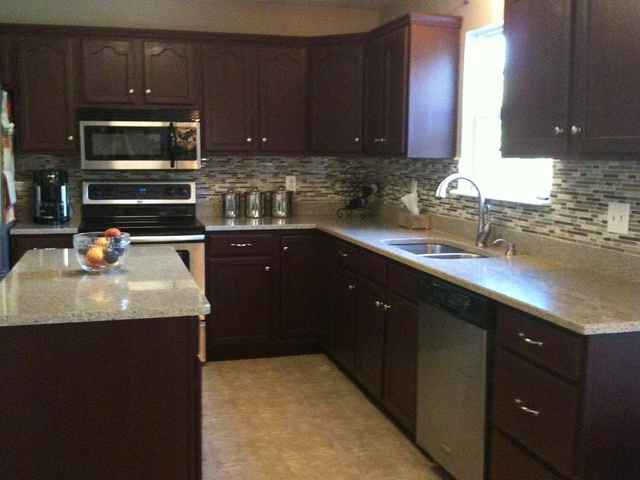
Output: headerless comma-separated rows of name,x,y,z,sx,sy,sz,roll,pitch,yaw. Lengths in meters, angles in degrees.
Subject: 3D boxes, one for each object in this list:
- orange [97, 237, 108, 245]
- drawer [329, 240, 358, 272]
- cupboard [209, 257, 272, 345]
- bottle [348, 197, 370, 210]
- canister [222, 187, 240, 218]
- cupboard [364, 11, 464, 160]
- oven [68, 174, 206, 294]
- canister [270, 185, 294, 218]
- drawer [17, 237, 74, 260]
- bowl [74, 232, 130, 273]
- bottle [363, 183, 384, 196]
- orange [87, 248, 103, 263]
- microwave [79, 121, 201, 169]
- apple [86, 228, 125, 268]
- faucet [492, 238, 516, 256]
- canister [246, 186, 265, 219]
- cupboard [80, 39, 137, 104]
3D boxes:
orange,-0.976,0.000,2.399,0.033,0.032,0.033,9,15,25
drawer,0.177,0.098,3.735,0.176,0.160,0.270,0,9,-17
cupboard,-0.646,0.413,4.257,0.468,0.665,0.454,-3,12,-19
bottle,0.359,-0.336,4.797,0.097,0.078,0.166,1,9,36
canister,-0.740,-0.324,4.486,0.145,0.239,0.140,0,11,0
cupboard,0.663,-1.104,4.042,0.489,0.952,0.877,-4,10,-20
oven,-1.435,0.045,4.361,0.838,1.117,0.759,-7,27,-27
canister,-0.332,-0.363,4.619,0.185,0.276,0.265,-2,15,-8
drawer,-1.936,0.020,3.758,0.306,0.186,0.161,-1,11,-16
bowl,-0.994,0.048,2.406,0.197,0.129,0.193,0,1,0
bottle,0.485,-0.447,4.732,0.132,0.116,0.170,2,5,31
orange,-1.006,0.067,2.389,0.060,0.059,0.068,-5,50,5
microwave,-1.379,-0.698,4.240,0.906,0.418,0.449,-1,-6,-3
apple,-1.006,0.011,2.441,0.162,0.139,0.127,-15,8,-25
faucet,1.045,0.039,3.040,0.124,0.085,0.065,-3,7,-1
canister,-0.509,-0.312,4.489,0.123,0.226,0.204,8,12,35
cupboard,-1.603,-1.279,4.059,0.424,0.456,0.288,-2,15,-22
